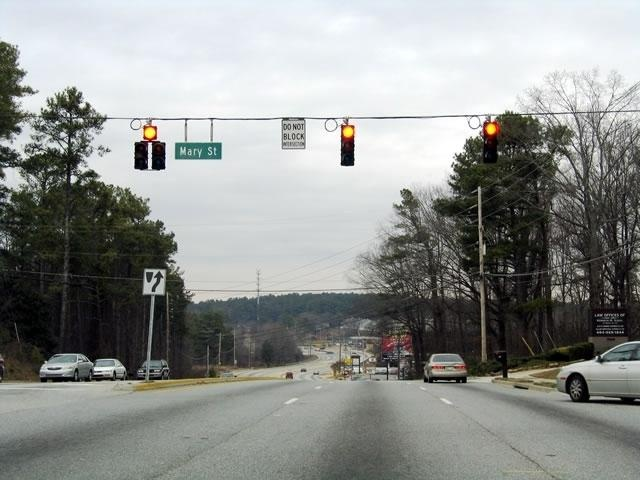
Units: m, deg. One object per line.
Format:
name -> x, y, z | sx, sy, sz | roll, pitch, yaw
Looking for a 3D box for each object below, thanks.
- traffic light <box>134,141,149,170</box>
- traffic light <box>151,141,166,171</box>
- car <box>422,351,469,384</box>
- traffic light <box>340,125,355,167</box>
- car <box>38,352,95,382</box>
traffic light -> -7.604, -3.683, 37.487 | 0.515, 1.372, 0.869 | 1, -8, -19
traffic light -> -6.975, -3.645, 37.762 | 0.546, 1.281, 0.292 | -3, -7, 10
car -> 7.097, 7.268, 49.982 | 2.200, 1.610, 1.256 | -5, -8, 20
traffic light -> 1.055, -4.108, 37.498 | 0.662, 1.931, 0.505 | 5, -9, -43
car -> -15.306, 7.683, 53.233 | 1.551, 1.636, 3.963 | -3, -10, 12
